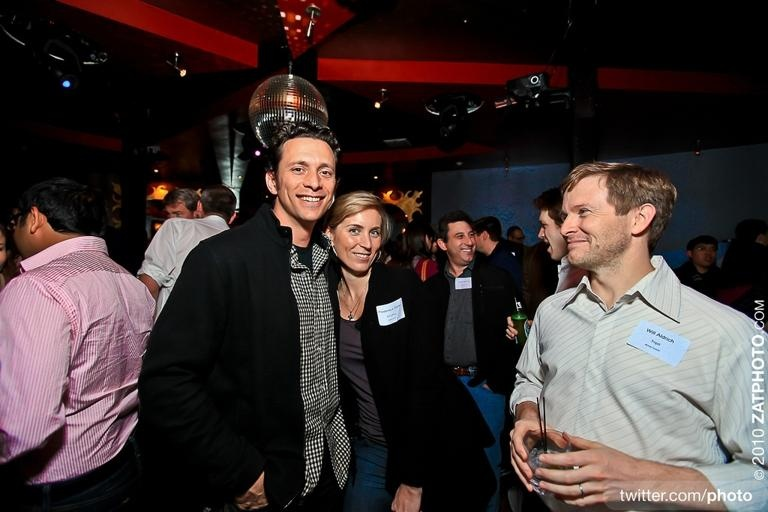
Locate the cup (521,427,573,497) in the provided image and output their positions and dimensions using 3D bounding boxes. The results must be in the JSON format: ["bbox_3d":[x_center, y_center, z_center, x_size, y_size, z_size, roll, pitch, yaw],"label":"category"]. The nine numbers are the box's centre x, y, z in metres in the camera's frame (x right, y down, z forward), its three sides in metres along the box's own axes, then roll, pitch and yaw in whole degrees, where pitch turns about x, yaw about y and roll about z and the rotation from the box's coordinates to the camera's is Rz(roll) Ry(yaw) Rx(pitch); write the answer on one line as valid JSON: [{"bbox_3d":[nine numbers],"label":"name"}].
[{"bbox_3d":[0.739,0.983,2.468,0.268,0.235,0.296,-3,-27,10],"label":"cup"}]
